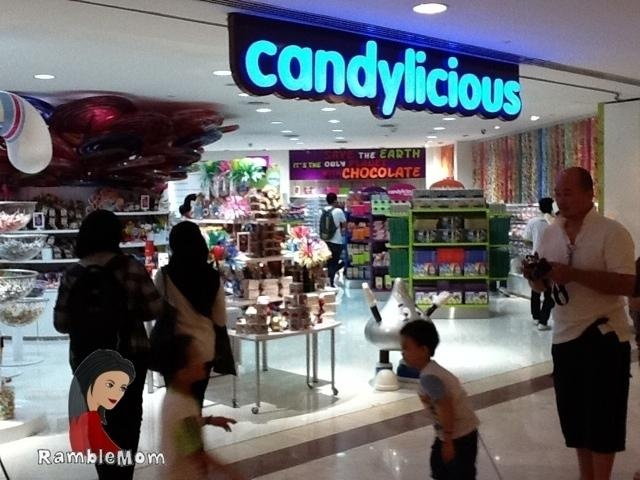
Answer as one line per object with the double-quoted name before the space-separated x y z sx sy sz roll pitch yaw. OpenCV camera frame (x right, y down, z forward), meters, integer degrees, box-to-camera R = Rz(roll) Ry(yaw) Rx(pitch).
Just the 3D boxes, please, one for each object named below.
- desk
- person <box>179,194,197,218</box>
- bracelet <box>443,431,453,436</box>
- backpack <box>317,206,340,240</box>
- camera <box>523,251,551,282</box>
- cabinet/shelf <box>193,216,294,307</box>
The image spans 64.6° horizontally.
"desk" -0.283 1.196 5.143 0.880 0.465 0.782 1 -17 -34
"person" -1.769 -0.459 6.804 0.219 0.318 0.784 -3 4 -15
"bracelet" 0.654 0.994 2.618 0.034 0.021 0.033 1 0 31
"backpack" 0.133 -0.302 9.571 0.266 0.606 0.312 -5 4 -35
"camera" 1.217 0.153 2.870 0.114 0.159 0.054 -41 -11 15
"cabinet/shelf" -0.697 0.299 4.954 0.602 0.764 0.882 -15 -12 37
